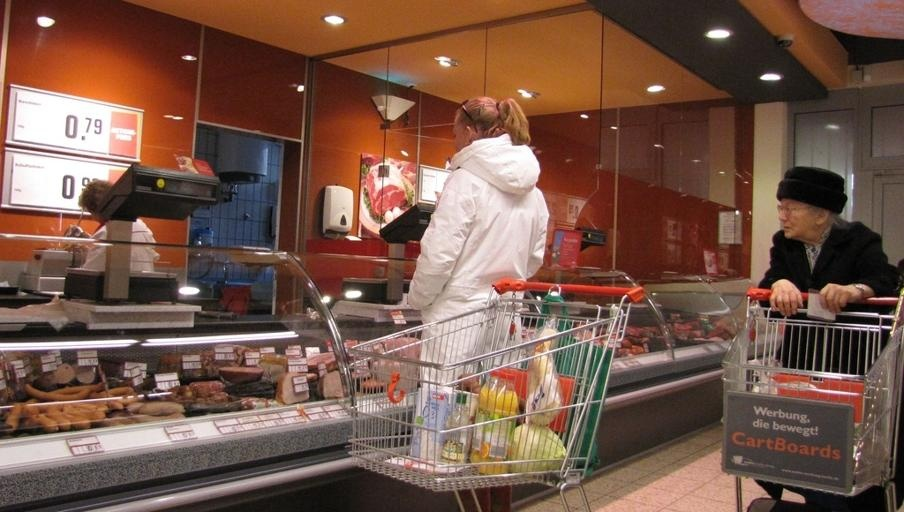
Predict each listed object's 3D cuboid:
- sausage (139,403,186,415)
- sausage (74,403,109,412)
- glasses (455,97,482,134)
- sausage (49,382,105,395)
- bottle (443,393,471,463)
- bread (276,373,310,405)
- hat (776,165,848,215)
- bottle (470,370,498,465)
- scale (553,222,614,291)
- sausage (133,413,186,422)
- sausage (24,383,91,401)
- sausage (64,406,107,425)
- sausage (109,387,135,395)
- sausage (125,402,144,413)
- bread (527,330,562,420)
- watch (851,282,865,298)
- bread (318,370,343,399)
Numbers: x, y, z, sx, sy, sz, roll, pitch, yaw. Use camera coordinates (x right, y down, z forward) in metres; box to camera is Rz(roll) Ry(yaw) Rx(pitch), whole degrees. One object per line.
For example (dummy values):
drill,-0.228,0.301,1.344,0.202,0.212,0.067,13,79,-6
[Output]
sausage,-1.461,0.756,3.185,0.142,0.039,0.074,2,-2,-16
sausage,-1.743,0.733,3.081,0.089,0.029,0.046,10,13,-19
glasses,0.097,-0.828,3.790,0.057,0.166,0.172,-18,2,1
sausage,-1.791,0.641,3.066,0.216,0.045,0.043,3,-35,-12
bottle,0.030,0.789,2.949,0.129,0.315,0.179,0,2,31
bread,-0.836,0.715,3.473,0.209,0.173,0.069,-11,-12,15
hat,2.094,-0.358,3.774,0.431,0.212,0.443,-6,3,22
bottle,0.146,0.758,2.961,0.128,0.376,0.103,-2,2,-43
scale,1.064,-0.059,5.326,0.422,0.436,0.258,2,23,8
sausage,-1.462,0.807,3.178,0.217,0.043,0.010,-1,2,-22
sausage,-1.889,0.658,3.037,0.218,0.053,0.094,0,37,-22
sausage,-1.761,0.768,3.077,0.116,0.034,0.113,-12,32,-39
sausage,-1.622,0.665,3.121,0.057,0.013,0.054,3,4,24
sausage,-1.569,0.746,3.141,0.079,0.053,0.003,-1,1,-19
bread,0.456,0.580,3.073,0.176,0.439,0.183,5,-27,-12
watch,2.156,0.191,3.388,0.060,0.050,0.055,6,2,9
bread,-0.684,0.710,3.529,0.187,0.154,0.096,2,-4,-26
